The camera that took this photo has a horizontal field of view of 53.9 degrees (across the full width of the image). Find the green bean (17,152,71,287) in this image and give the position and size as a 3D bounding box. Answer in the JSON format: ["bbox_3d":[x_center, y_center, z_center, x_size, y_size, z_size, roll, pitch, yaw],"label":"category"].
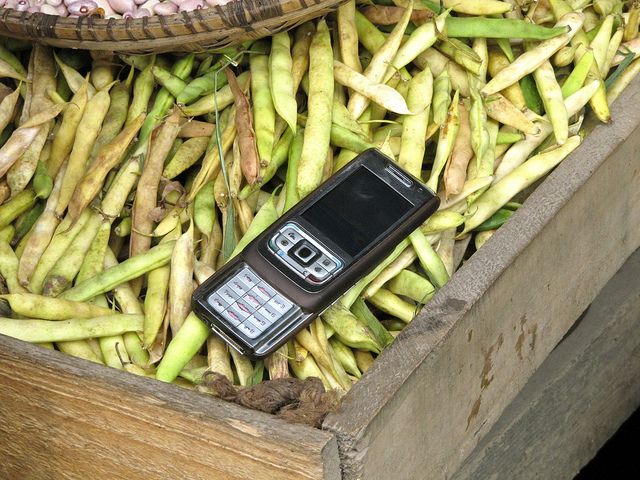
[{"bbox_3d":[-0.433,-0.033,1.010,0.025,0.212,0.023,18,-27,-4],"label":"green bean"}]

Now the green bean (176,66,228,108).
[{"bbox_3d":[-0.206,-0.267,1.103,0.034,0.114,0.031,40,-26,6],"label":"green bean"}]

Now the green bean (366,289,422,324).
[{"bbox_3d":[0.108,0.098,0.956,0.117,0.040,0.031,22,-30,-31],"label":"green bean"}]

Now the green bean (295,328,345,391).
[{"bbox_3d":[-0.002,0.163,0.851,0.088,0.015,0.013,57,-35,0],"label":"green bean"}]

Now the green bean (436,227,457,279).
[{"bbox_3d":[0.204,0.014,0.996,0.020,0.096,0.010,9,-25,-20],"label":"green bean"}]

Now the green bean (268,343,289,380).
[{"bbox_3d":[-0.051,0.161,0.862,0.011,0.024,0.048,41,18,-12],"label":"green bean"}]

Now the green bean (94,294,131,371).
[{"bbox_3d":[-0.293,0.134,0.889,0.020,0.096,0.023,-8,-20,-35],"label":"green bean"}]

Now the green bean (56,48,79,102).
[{"bbox_3d":[-0.471,-0.312,1.193,0.028,0.114,0.027,20,-36,-30],"label":"green bean"}]

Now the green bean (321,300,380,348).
[{"bbox_3d":[0.041,0.118,0.879,0.117,0.034,0.014,45,-28,33],"label":"green bean"}]

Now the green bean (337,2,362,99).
[{"bbox_3d":[0.053,-0.344,1.155,0.038,0.195,0.027,-3,-23,-7],"label":"green bean"}]

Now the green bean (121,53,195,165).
[{"bbox_3d":[-0.280,-0.222,1.091,0.030,0.234,0.025,22,-15,19],"label":"green bean"}]

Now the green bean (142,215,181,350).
[{"bbox_3d":[-0.231,0.048,0.916,0.032,0.214,0.029,9,-25,4],"label":"green bean"}]

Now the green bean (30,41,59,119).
[{"bbox_3d":[-0.502,-0.298,1.156,0.042,0.199,0.022,12,-40,-20],"label":"green bean"}]

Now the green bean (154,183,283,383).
[{"bbox_3d":[-0.144,0.070,0.889,0.031,0.308,0.031,27,-18,-3],"label":"green bean"}]

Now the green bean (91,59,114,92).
[{"bbox_3d":[-0.405,-0.306,1.181,0.043,0.070,0.021,-22,-29,-9],"label":"green bean"}]

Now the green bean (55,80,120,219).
[{"bbox_3d":[-0.390,-0.169,1.096,0.032,0.271,0.037,-7,-30,45],"label":"green bean"}]

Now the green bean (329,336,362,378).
[{"bbox_3d":[0.036,0.164,0.894,0.079,0.025,0.026,62,-13,3],"label":"green bean"}]

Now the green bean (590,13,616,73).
[{"bbox_3d":[0.531,-0.370,1.179,0.031,0.152,0.020,21,-19,12],"label":"green bean"}]

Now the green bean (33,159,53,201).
[{"bbox_3d":[-0.460,-0.097,1.044,0.023,0.083,0.023,-6,-27,-10],"label":"green bean"}]

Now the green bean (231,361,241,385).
[{"bbox_3d":[-0.118,0.186,0.874,0.009,0.038,0.009,-24,-18,36],"label":"green bean"}]

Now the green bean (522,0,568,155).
[{"bbox_3d":[0.401,-0.296,1.116,0.039,0.324,0.042,0,-17,4],"label":"green bean"}]

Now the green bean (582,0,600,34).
[{"bbox_3d":[0.545,-0.446,1.263,0.039,0.071,0.016,1,-26,14],"label":"green bean"}]

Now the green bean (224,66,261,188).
[{"bbox_3d":[-0.129,-0.187,1.013,0.031,0.218,0.036,-27,-36,22],"label":"green bean"}]

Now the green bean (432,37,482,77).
[{"bbox_3d":[0.238,-0.343,1.148,0.092,0.033,0.028,33,-14,-7],"label":"green bean"}]

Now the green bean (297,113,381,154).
[{"bbox_3d":[0.054,-0.160,1.012,0.093,0.039,0.042,23,10,24],"label":"green bean"}]

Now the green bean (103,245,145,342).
[{"bbox_3d":[-0.287,0.083,0.924,0.018,0.141,0.019,-26,-8,11],"label":"green bean"}]

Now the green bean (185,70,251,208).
[{"bbox_3d":[-0.158,-0.168,1.060,0.040,0.292,0.030,30,-29,-25],"label":"green bean"}]

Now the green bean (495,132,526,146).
[{"bbox_3d":[0.323,-0.172,1.077,0.060,0.022,0.014,-5,-4,1],"label":"green bean"}]

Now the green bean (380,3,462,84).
[{"bbox_3d":[0.187,-0.350,1.136,0.035,0.207,0.029,41,-11,5],"label":"green bean"}]

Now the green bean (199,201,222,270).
[{"bbox_3d":[-0.166,-0.006,0.982,0.017,0.129,0.017,16,-29,-13],"label":"green bean"}]

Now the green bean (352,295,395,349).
[{"bbox_3d":[0.073,0.114,0.943,0.111,0.032,0.030,57,-8,26],"label":"green bean"}]

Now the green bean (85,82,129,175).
[{"bbox_3d":[-0.360,-0.205,1.118,0.026,0.194,0.035,-14,-41,42],"label":"green bean"}]

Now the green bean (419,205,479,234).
[{"bbox_3d":[0.198,-0.027,0.959,0.037,0.094,0.013,58,-7,25],"label":"green bean"}]
